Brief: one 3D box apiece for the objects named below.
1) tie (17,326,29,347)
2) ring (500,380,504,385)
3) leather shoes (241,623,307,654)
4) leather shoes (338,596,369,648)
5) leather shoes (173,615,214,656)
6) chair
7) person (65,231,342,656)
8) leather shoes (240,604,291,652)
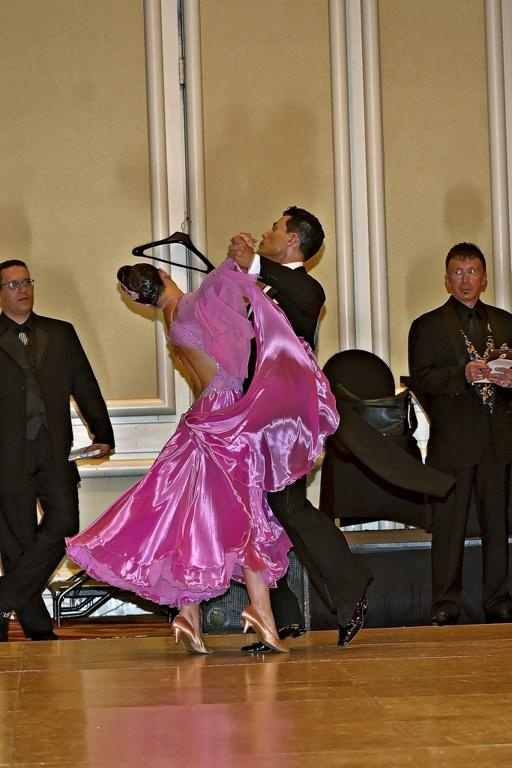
[{"bbox_3d":[-1.002,-0.206,3.596,0.062,0.076,0.020,-4,-20,-21],"label":"tie"},{"bbox_3d":[0.990,-0.006,3.349,0.013,0.015,0.006,0,5,1],"label":"ring"},{"bbox_3d":[0.055,0.758,2.486,0.222,0.058,0.075,-9,-7,-16],"label":"leather shoes"},{"bbox_3d":[0.295,0.728,2.483,0.088,0.186,0.066,11,24,-3],"label":"leather shoes"},{"bbox_3d":[-0.198,0.738,2.438,0.059,0.084,0.182,3,-23,36],"label":"leather shoes"},{"bbox_3d":[0.583,0.286,3.837,0.577,0.699,0.563,0,-6,-23],"label":"chair"},{"bbox_3d":[-0.142,0.208,2.478,0.732,1.190,0.413,-4,4,16],"label":"person"},{"bbox_3d":[0.024,0.711,2.427,0.117,0.171,0.154,-5,3,-3],"label":"leather shoes"}]
